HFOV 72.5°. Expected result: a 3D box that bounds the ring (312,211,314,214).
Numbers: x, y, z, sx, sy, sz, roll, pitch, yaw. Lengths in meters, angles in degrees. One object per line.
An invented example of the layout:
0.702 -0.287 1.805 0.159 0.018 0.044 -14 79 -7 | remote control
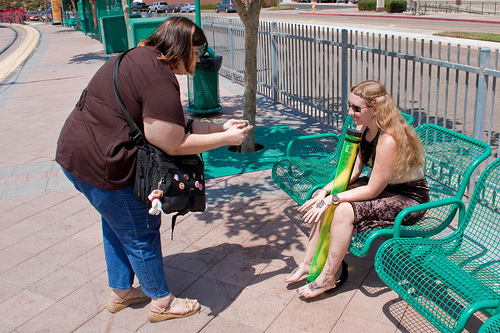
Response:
0.549 0.402 2.994 0.021 0.019 0.008 -6 -17 11 | ring

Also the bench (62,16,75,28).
-23.633 -18.795 44.740 0.995 1.073 7.435 -14 26 -22 | bench

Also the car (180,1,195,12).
-11.119 -28.264 60.599 2.426 1.433 5.809 -7 25 -9 | car
